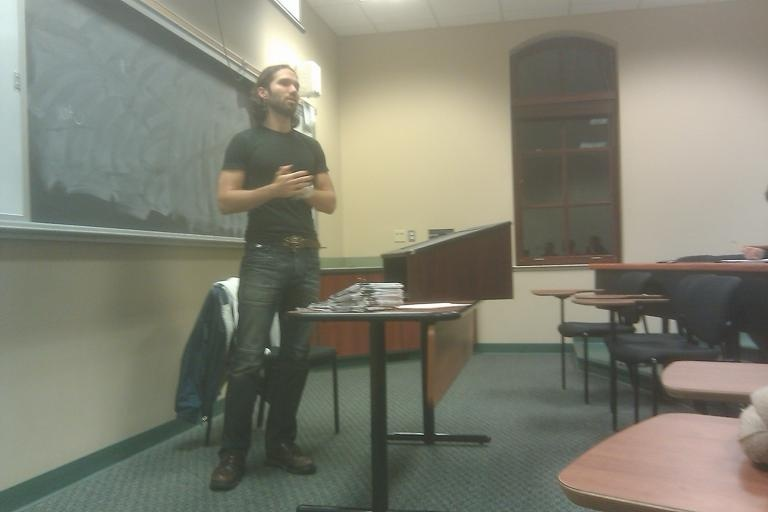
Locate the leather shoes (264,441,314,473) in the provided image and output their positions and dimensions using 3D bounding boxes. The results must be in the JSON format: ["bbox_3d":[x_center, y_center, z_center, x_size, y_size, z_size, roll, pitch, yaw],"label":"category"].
[{"bbox_3d":[-0.513,1.124,3.354,0.324,0.140,0.124,4,-2,16],"label":"leather shoes"}]

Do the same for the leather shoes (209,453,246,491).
[{"bbox_3d":[-0.833,1.150,3.152,0.118,0.141,0.235,2,-9,5],"label":"leather shoes"}]

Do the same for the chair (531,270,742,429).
[{"bbox_3d":[1.644,0.649,4.182,0.993,1.366,1.034,1,-5,-2],"label":"chair"}]
